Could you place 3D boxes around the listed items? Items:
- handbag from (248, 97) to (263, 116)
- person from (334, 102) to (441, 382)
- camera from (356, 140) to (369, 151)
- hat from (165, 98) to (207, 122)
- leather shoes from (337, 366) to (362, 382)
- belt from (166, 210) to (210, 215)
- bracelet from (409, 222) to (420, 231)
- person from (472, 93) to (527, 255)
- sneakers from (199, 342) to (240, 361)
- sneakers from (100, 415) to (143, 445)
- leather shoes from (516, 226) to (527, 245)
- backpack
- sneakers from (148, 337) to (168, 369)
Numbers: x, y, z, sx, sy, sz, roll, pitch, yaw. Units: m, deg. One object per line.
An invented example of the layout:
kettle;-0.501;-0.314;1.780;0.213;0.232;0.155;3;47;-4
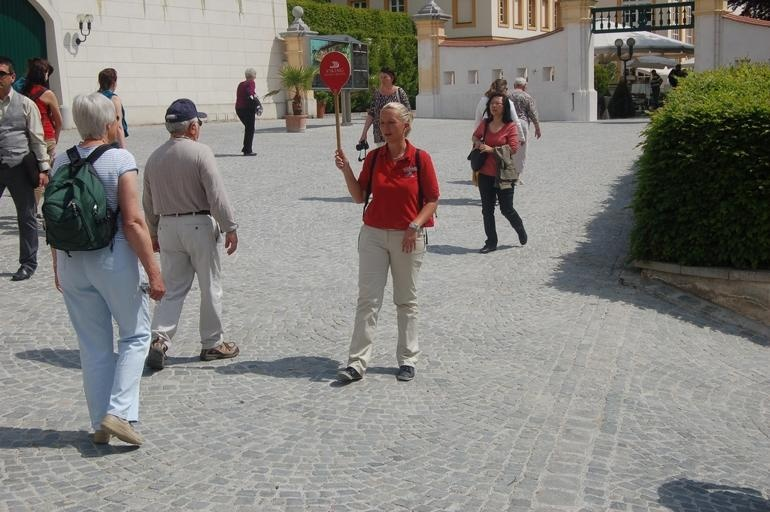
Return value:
handbag;-2.738;-3.229;20.013;0.383;0.454;0.229;7;15;38
person;0.032;-0.131;8.218;0.883;2.391;0.737;-1;14;1
camera;-0.351;-1.517;12.756;0.087;0.134;0.232;8;-13;-41
hat;-1.755;-1.276;8.336;0.267;0.170;0.408;14;26;34
leather shoes;-0.315;1.023;8.171;0.221;0.137;0.108;-2;14;-3
belt;-1.741;-0.389;8.222;0.356;0.048;0.053;-2;14;-7
bracelet;0.259;-0.263;8.155;0.122;0.091;0.065;-6;15;-18
person;1.466;-1.095;11.994;0.771;1.935;0.989;0;14;5
sneakers;-1.517;0.845;8.610;0.398;0.157;0.135;-7;19;-24
sneakers;-1.980;1.312;7.065;0.132;0.380;0.171;-42;36;8
leather shoes;1.764;-0.285;12.030;0.112;0.270;0.120;-16;25;10
backpack;-2.311;-0.472;7.063;0.547;0.705;0.604;7;13;14
sneakers;-2.037;0.849;8.295;0.144;0.298;0.223;8;31;-6
